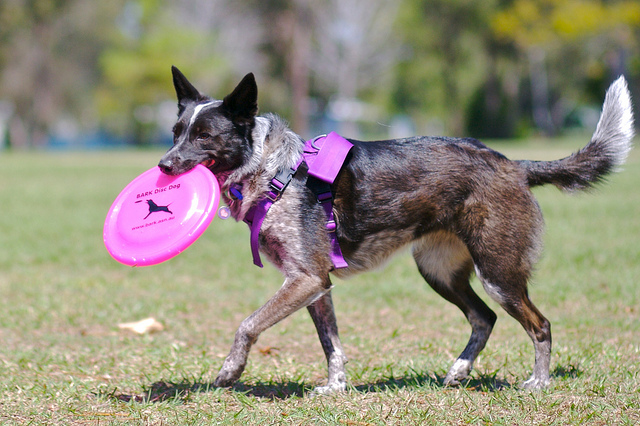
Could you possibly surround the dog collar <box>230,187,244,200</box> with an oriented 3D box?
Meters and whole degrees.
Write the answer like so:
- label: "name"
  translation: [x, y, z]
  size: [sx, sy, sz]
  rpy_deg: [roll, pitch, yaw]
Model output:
- label: "dog collar"
  translation: [-1.046, -0.234, 11.108]
  size: [0.152, 0.035, 0.152]
  rpy_deg: [43, 5, -2]
